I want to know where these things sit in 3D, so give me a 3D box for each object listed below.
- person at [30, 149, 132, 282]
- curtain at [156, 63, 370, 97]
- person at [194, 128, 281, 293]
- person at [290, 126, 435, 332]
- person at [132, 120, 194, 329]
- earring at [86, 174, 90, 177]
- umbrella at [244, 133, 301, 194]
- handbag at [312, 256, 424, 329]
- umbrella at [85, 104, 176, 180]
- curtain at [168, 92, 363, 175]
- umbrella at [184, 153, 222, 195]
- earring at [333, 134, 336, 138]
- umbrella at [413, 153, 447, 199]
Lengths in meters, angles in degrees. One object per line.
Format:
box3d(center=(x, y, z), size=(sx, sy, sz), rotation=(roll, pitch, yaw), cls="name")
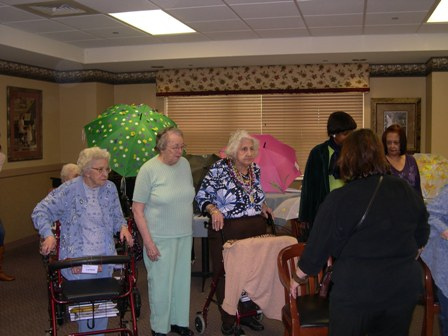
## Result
box3d(center=(-1.091, 0.362, 2.891), size=(0.714, 0.790, 0.665), rotation=(-1, 0, -17), cls="person")
box3d(center=(0.721, -1.757, 7.385), size=(4.093, 0.630, 0.177), rotation=(-1, 0, 10), cls="curtain")
box3d(center=(0.096, 0.395, 3.252), size=(0.708, 1.305, 0.384), rotation=(-1, 0, -7), cls="person")
box3d(center=(0.800, 0.348, 2.104), size=(0.749, 1.167, 0.330), rotation=(-1, 0, -7), cls="person")
box3d(center=(-0.496, 0.555, 3.191), size=(0.447, 1.498, 0.404), rotation=(-1, 0, 4), cls="person")
box3d(center=(-1.057, 0.056, 2.887), size=(0.019, 0.020, 0.005), rotation=(5, 8, -1), cls="earring")
box3d(center=(0.815, -0.257, 5.272), size=(0.836, 0.935, 0.431), rotation=(-5, -20, -13), cls="umbrella")
box3d(center=(0.825, 0.655, 2.381), size=(0.785, 0.521, 0.648), rotation=(1, -10, 10), cls="handbag")
box3d(center=(-1.211, -0.310, 4.452), size=(0.875, 0.943, 0.446), rotation=(13, -25, -24), cls="umbrella")
box3d(center=(0.835, -0.978, 7.820), size=(3.868, 0.204, 2.490), rotation=(-1, -33, 5), cls="curtain")
box3d(center=(-0.338, 0.053, 5.243), size=(0.485, 0.499, 0.685), rotation=(-1, 0, 4), cls="umbrella")
box3d(center=(0.944, -0.275, 3.187), size=(0.016, 0.030, 0.049), rotation=(-1, -1, 8), cls="earring")
box3d(center=(2.043, 0.090, 3.697), size=(0.269, 0.366, 0.197), rotation=(-2, -22, 14), cls="umbrella")
